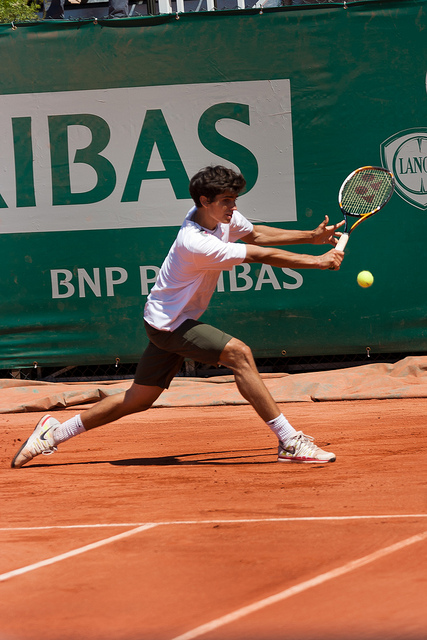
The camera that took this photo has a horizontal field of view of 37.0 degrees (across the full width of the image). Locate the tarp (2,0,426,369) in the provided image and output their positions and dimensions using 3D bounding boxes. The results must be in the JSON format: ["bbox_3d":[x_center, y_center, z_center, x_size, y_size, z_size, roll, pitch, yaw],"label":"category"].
[{"bbox_3d":[0.096,-1.133,5.164,3.828,2.319,0.082,-2,3,7],"label":"tarp"}]

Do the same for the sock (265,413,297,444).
[{"bbox_3d":[0.305,0.495,2.917,0.123,0.129,0.108,-4,-1,-4],"label":"sock"}]

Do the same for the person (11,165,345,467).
[{"bbox_3d":[-0.134,0.031,3.177,1.844,1.373,0.558,-5,-11,25],"label":"person"}]
